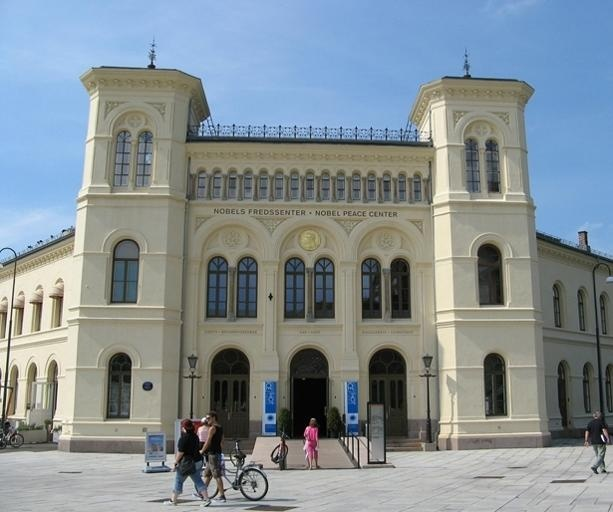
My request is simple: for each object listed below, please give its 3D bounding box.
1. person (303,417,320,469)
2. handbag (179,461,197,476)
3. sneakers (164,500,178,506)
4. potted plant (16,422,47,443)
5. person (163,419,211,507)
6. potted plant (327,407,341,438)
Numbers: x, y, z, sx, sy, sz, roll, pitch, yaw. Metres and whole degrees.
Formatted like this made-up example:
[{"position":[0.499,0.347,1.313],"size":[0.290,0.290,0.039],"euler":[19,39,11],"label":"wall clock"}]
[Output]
[{"position":[0.215,7.106,22.356],"size":[0.543,1.808,1.295],"euler":[-1,-14,-1],"label":"person"},{"position":[-2.723,4.912,13.677],"size":[0.355,0.389,0.264],"euler":[2,-23,1],"label":"handbag"},{"position":[-3.202,5.797,13.918],"size":[0.330,0.161,0.119],"euler":[-4,-16,23],"label":"sneakers"},{"position":[-15.167,10.003,33.130],"size":[1.124,0.759,1.142],"euler":[2,-10,-15],"label":"potted plant"},{"position":[-2.770,4.950,14.180],"size":[0.968,2.012,1.180],"euler":[2,-14,-11],"label":"person"},{"position":[1.411,8.090,28.708],"size":[0.704,1.402,0.617],"euler":[-2,-14,5],"label":"potted plant"}]
